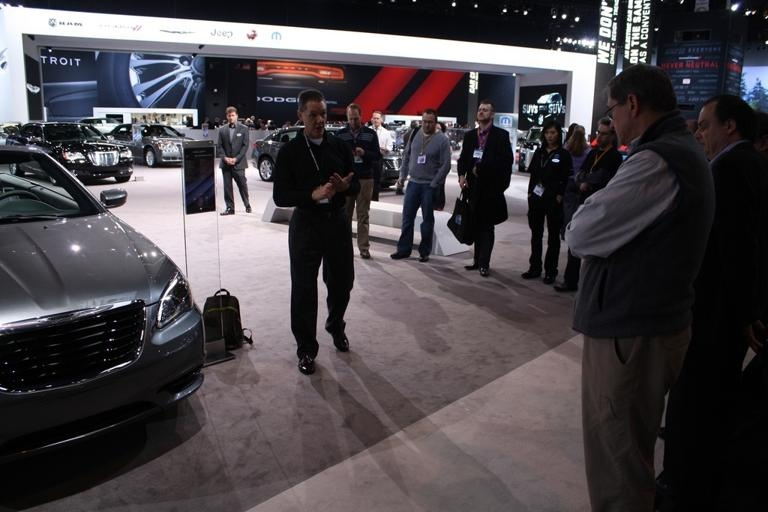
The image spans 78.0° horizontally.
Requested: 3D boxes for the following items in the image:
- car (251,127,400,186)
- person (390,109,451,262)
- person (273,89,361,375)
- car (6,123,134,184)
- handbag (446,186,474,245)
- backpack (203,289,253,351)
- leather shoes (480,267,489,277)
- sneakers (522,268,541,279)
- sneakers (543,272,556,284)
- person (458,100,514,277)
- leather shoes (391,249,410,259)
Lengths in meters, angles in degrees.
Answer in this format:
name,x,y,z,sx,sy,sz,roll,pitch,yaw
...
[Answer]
name,x,y,z,sx,sy,sz,roll,pitch,yaw
car,-2.031,-3.017,13.910,4.864,1.688,2.223,7,14,28
person,0.561,-1.058,7.183,0.799,2.219,0.547,1,16,5
person,-0.534,-0.198,4.008,0.692,2.289,0.552,-8,18,-24
car,-9.101,-2.890,13.536,4.877,1.562,1.963,18,17,37
handbag,1.067,-0.553,6.553,0.219,0.759,0.463,-6,17,-19
backpack,-1.480,0.586,4.382,0.495,0.549,0.223,-2,10,-18
leather shoes,1.399,0.217,6.631,0.119,0.115,0.276,0,3,7
sneakers,2.008,0.223,6.644,0.344,0.142,0.116,-3,15,-23
sneakers,2.256,0.275,6.464,0.165,0.133,0.264,5,18,18
person,1.375,-0.936,6.595,0.715,2.342,0.736,4,17,15
leather shoes,0.264,-0.043,7.397,0.318,0.147,0.121,0,20,-9
